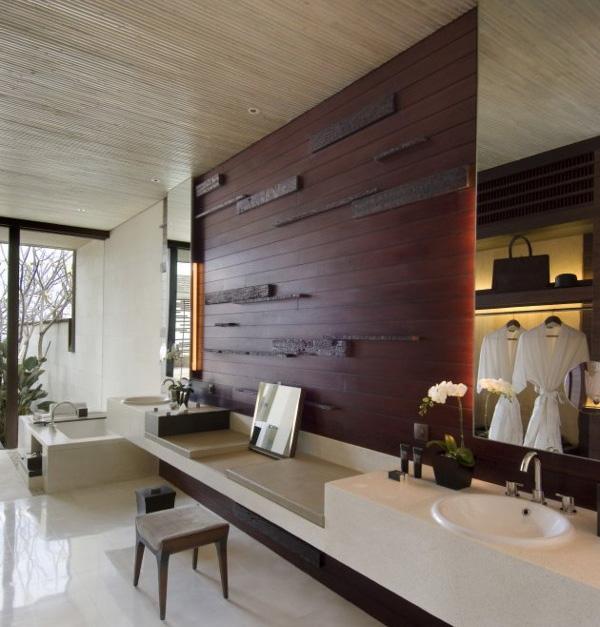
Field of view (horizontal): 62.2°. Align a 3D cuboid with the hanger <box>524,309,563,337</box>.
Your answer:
[{"bbox_3d":[0.949,0.035,1.926,0.019,0.139,0.109,7,1,-20],"label":"hanger"}]

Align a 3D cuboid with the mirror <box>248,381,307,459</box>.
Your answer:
[{"bbox_3d":[-0.203,0.711,3.310,0.062,0.451,0.486,-2,-20,34],"label":"mirror"}]

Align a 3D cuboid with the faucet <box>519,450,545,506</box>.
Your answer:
[{"bbox_3d":[0.856,0.596,1.828,0.086,0.217,0.369,-1,-2,26],"label":"faucet"}]

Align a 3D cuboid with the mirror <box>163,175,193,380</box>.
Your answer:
[{"bbox_3d":[-1.111,-0.350,4.687,0.474,1.888,0.038,20,23,40],"label":"mirror"}]

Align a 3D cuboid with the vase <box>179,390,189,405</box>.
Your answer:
[{"bbox_3d":[-0.955,0.703,4.147,0.099,0.129,0.062,2,-2,-44],"label":"vase"}]

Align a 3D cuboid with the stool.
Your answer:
[{"bbox_3d":[-0.678,1.261,2.730,0.492,0.466,0.474,-2,6,-31],"label":"stool"}]

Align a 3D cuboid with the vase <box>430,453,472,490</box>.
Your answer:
[{"bbox_3d":[0.609,0.648,2.013,0.140,0.117,0.173,1,0,-37],"label":"vase"}]
